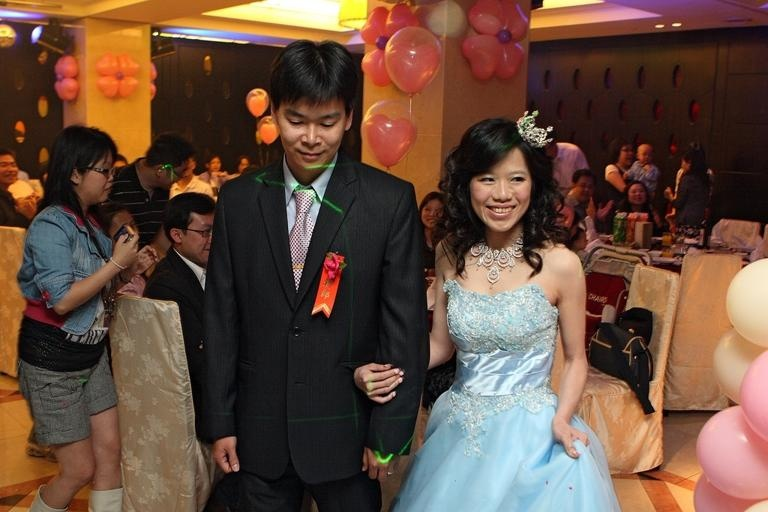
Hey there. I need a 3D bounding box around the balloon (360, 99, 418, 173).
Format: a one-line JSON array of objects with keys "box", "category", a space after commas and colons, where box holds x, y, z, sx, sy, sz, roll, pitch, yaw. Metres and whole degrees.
[{"box": [0.057, -1.055, 4.900, 0.436, 0.492, 0.430, 3, 0, 2], "category": "balloon"}]

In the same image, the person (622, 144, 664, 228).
[{"box": [3.842, -0.851, 8.184, 0.457, 1.594, 0.461, -16, 20, -33], "category": "person"}]

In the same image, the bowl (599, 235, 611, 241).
[{"box": [2.728, -0.238, 6.751, 0.126, 0.040, 0.125, 2, 12, 0], "category": "bowl"}]

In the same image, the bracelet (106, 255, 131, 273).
[{"box": [-1.232, 0.031, 2.530, 0.089, 0.036, 0.079, 31, 4, 25], "category": "bracelet"}]

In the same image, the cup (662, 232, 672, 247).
[{"box": [2.970, -0.182, 5.794, 0.128, 0.148, 0.127, 1, 7, 0], "category": "cup"}]

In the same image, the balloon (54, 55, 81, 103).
[{"box": [-4.999, -2.848, 8.517, 0.194, 0.479, 0.492, -26, -15, 20], "category": "balloon"}]

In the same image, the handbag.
[{"box": [1.586, 0.700, 3.645, 0.232, 0.569, 0.396, -17, 10, -22], "category": "handbag"}]

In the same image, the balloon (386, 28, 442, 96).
[{"box": [0.155, -1.799, 5.051, 0.534, 0.659, 0.534, -8, 22, -26], "category": "balloon"}]

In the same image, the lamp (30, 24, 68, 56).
[{"box": [-5.230, -3.396, 8.578, 0.489, 0.255, 0.631, 10, -5, -42], "category": "lamp"}]

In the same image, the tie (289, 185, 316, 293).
[{"box": [-0.287, -0.065, 1.941, 0.085, 0.359, 0.049, 2, -13, 5], "category": "tie"}]

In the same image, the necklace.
[{"box": [0.488, 0.014, 2.375, 0.244, 0.230, 0.026, 3, -15, 29], "category": "necklace"}]

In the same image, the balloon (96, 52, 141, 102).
[{"box": [-4.186, -2.817, 8.533, 0.645, 0.661, 0.249, -18, 22, -40], "category": "balloon"}]
